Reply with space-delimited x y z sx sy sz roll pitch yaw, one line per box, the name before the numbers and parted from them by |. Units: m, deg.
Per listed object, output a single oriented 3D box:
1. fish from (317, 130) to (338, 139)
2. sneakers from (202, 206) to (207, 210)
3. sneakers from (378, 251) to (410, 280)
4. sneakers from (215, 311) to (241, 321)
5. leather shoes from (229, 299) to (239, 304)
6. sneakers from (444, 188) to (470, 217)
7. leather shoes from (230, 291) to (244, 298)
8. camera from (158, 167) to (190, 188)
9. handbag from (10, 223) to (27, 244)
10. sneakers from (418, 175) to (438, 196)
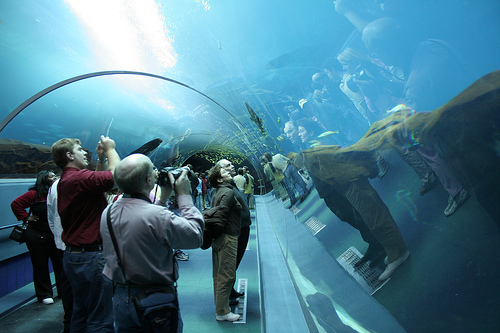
fish | 0.929 -0.382 3.666 0.048 0.036 0.204 -33 6 -21
sneakers | -2.142 2.021 14.799 0.259 0.100 0.261 -8 -4 31
sneakers | 1.251 0.855 2.679 0.321 0.129 0.110 -49 -2 32
sneakers | -0.334 2.308 4.783 0.389 0.172 0.136 0 -13 -1
leather shoes | -0.277 2.280 5.171 0.167 0.088 0.277 -2 -18 5
sneakers | 1.511 0.262 2.281 0.094 0.070 0.234 13 -50 -14
leather shoes | -0.214 2.226 5.336 0.193 0.070 0.134 9 -15 -14
camera | -0.744 0.101 2.998 0.286 0.166 0.138 -7 -22 -12
handbag | -4.053 1.161 5.360 0.220 0.309 0.189 -1 -3 -39
sneakers | 1.389 0.148 2.380 0.038 0.117 0.129 20 -59 -10
